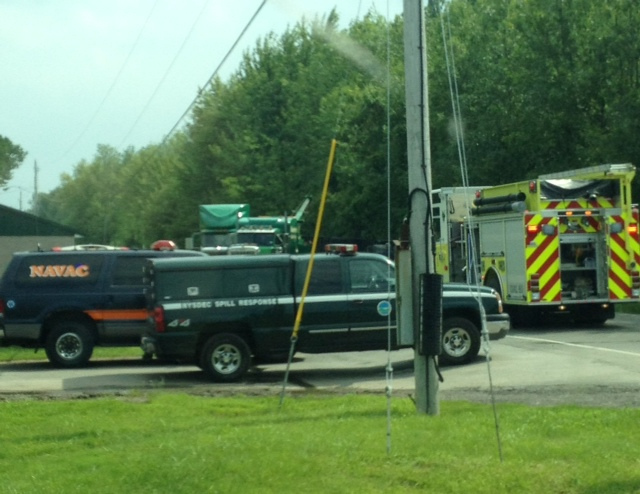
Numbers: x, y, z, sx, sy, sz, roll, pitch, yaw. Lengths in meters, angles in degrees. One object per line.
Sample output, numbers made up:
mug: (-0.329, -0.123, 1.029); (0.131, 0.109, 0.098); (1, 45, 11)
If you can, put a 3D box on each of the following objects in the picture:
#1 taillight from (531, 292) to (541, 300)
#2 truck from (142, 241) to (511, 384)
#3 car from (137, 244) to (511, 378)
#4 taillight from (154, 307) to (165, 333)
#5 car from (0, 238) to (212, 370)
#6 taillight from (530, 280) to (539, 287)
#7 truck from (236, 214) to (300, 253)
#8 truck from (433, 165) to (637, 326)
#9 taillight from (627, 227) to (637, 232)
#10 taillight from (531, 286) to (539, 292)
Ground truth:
taillight: (4.905, 1.104, 22.293); (0.247, 0.239, 0.137); (0, -3, -3)
truck: (-0.041, 1.102, 18.334); (6.408, 2.314, 2.735); (-2, 1, -11)
car: (-0.122, 1.153, 18.877); (6.430, 2.123, 2.688); (-3, 2, -16)
taillight: (-2.932, 1.301, 17.734); (0.204, 0.452, 0.076); (3, 9, 28)
car: (-4.491, 1.155, 20.300); (4.031, 1.803, 2.230); (-2, 1, -14)
taillight: (4.884, 0.822, 22.219); (0.154, 0.136, 0.142); (0, 4, 1)
truck: (-1.588, -0.402, 30.502); (1.076, 1.077, 2.003); (0, -2, 9)
truck: (4.850, -0.033, 24.760); (3.291, 3.133, 5.940); (-1, 2, -20)
taillight: (7.216, -0.412, 22.654); (0.248, 0.109, 0.030); (-4, 8, -22)
taillight: (4.871, 0.947, 22.281); (0.131, 0.121, 0.030); (0, -5, -1)
